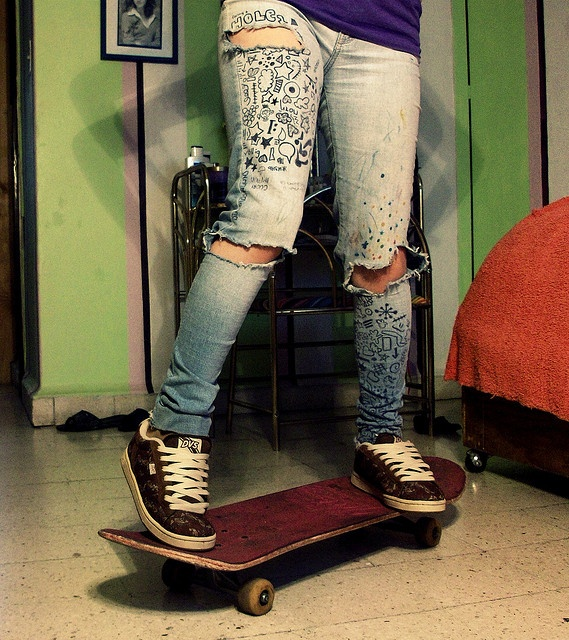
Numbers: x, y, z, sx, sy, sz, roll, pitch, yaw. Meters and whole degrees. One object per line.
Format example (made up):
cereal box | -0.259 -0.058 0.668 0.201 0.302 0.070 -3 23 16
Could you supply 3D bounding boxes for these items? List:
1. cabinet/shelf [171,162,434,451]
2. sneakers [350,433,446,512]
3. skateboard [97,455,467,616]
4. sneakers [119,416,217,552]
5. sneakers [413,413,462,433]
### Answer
cabinet/shelf | -0.004 -0.117 3.012 1.004 1.876 0.932 -1 1 -16
sneakers | 0.203 0.275 1.256 0.079 0.107 0.231 0 -1 -22
skateboard | 0.046 0.326 1.153 0.729 0.134 0.214 -4 10 -44
sneakers | -0.168 0.242 1.012 0.135 0.169 0.107 0 1 3
sneakers | 0.508 0.352 2.313 0.178 0.073 0.063 3 35 0
